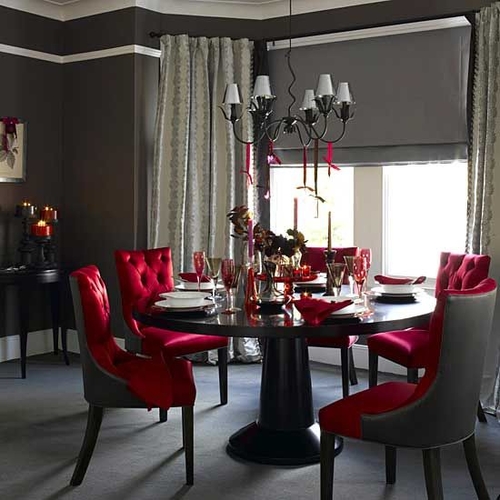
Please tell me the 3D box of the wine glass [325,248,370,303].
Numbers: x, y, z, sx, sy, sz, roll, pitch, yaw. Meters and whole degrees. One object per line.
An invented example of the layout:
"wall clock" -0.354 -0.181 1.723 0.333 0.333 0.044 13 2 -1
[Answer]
"wine glass" 0.448 0.102 2.349 0.204 0.311 0.251 0 -1 7

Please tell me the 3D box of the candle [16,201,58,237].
"candle" -1.708 -0.262 4.192 0.266 0.330 0.302 2 4 9

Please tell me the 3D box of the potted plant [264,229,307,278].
"potted plant" 0.154 0.002 2.343 0.179 0.216 0.207 1 -1 23

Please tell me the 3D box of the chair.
"chair" 0.132 0.502 2.135 1.529 1.020 1.006 -2 -2 35
